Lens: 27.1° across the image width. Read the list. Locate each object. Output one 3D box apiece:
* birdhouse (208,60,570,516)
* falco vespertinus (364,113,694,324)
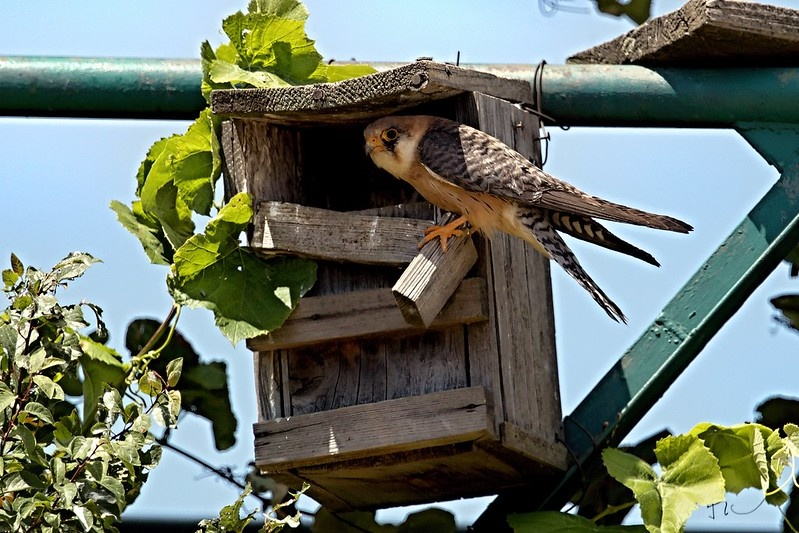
[{"bbox_3d":[-0.008,0.030,6.669,1.157,1.518,0.977,-7,-7,30],"label":"birdhouse"},{"bbox_3d":[0.442,-0.228,6.464,1.277,0.507,0.379,17,-7,8],"label":"falco vespertinus"}]
